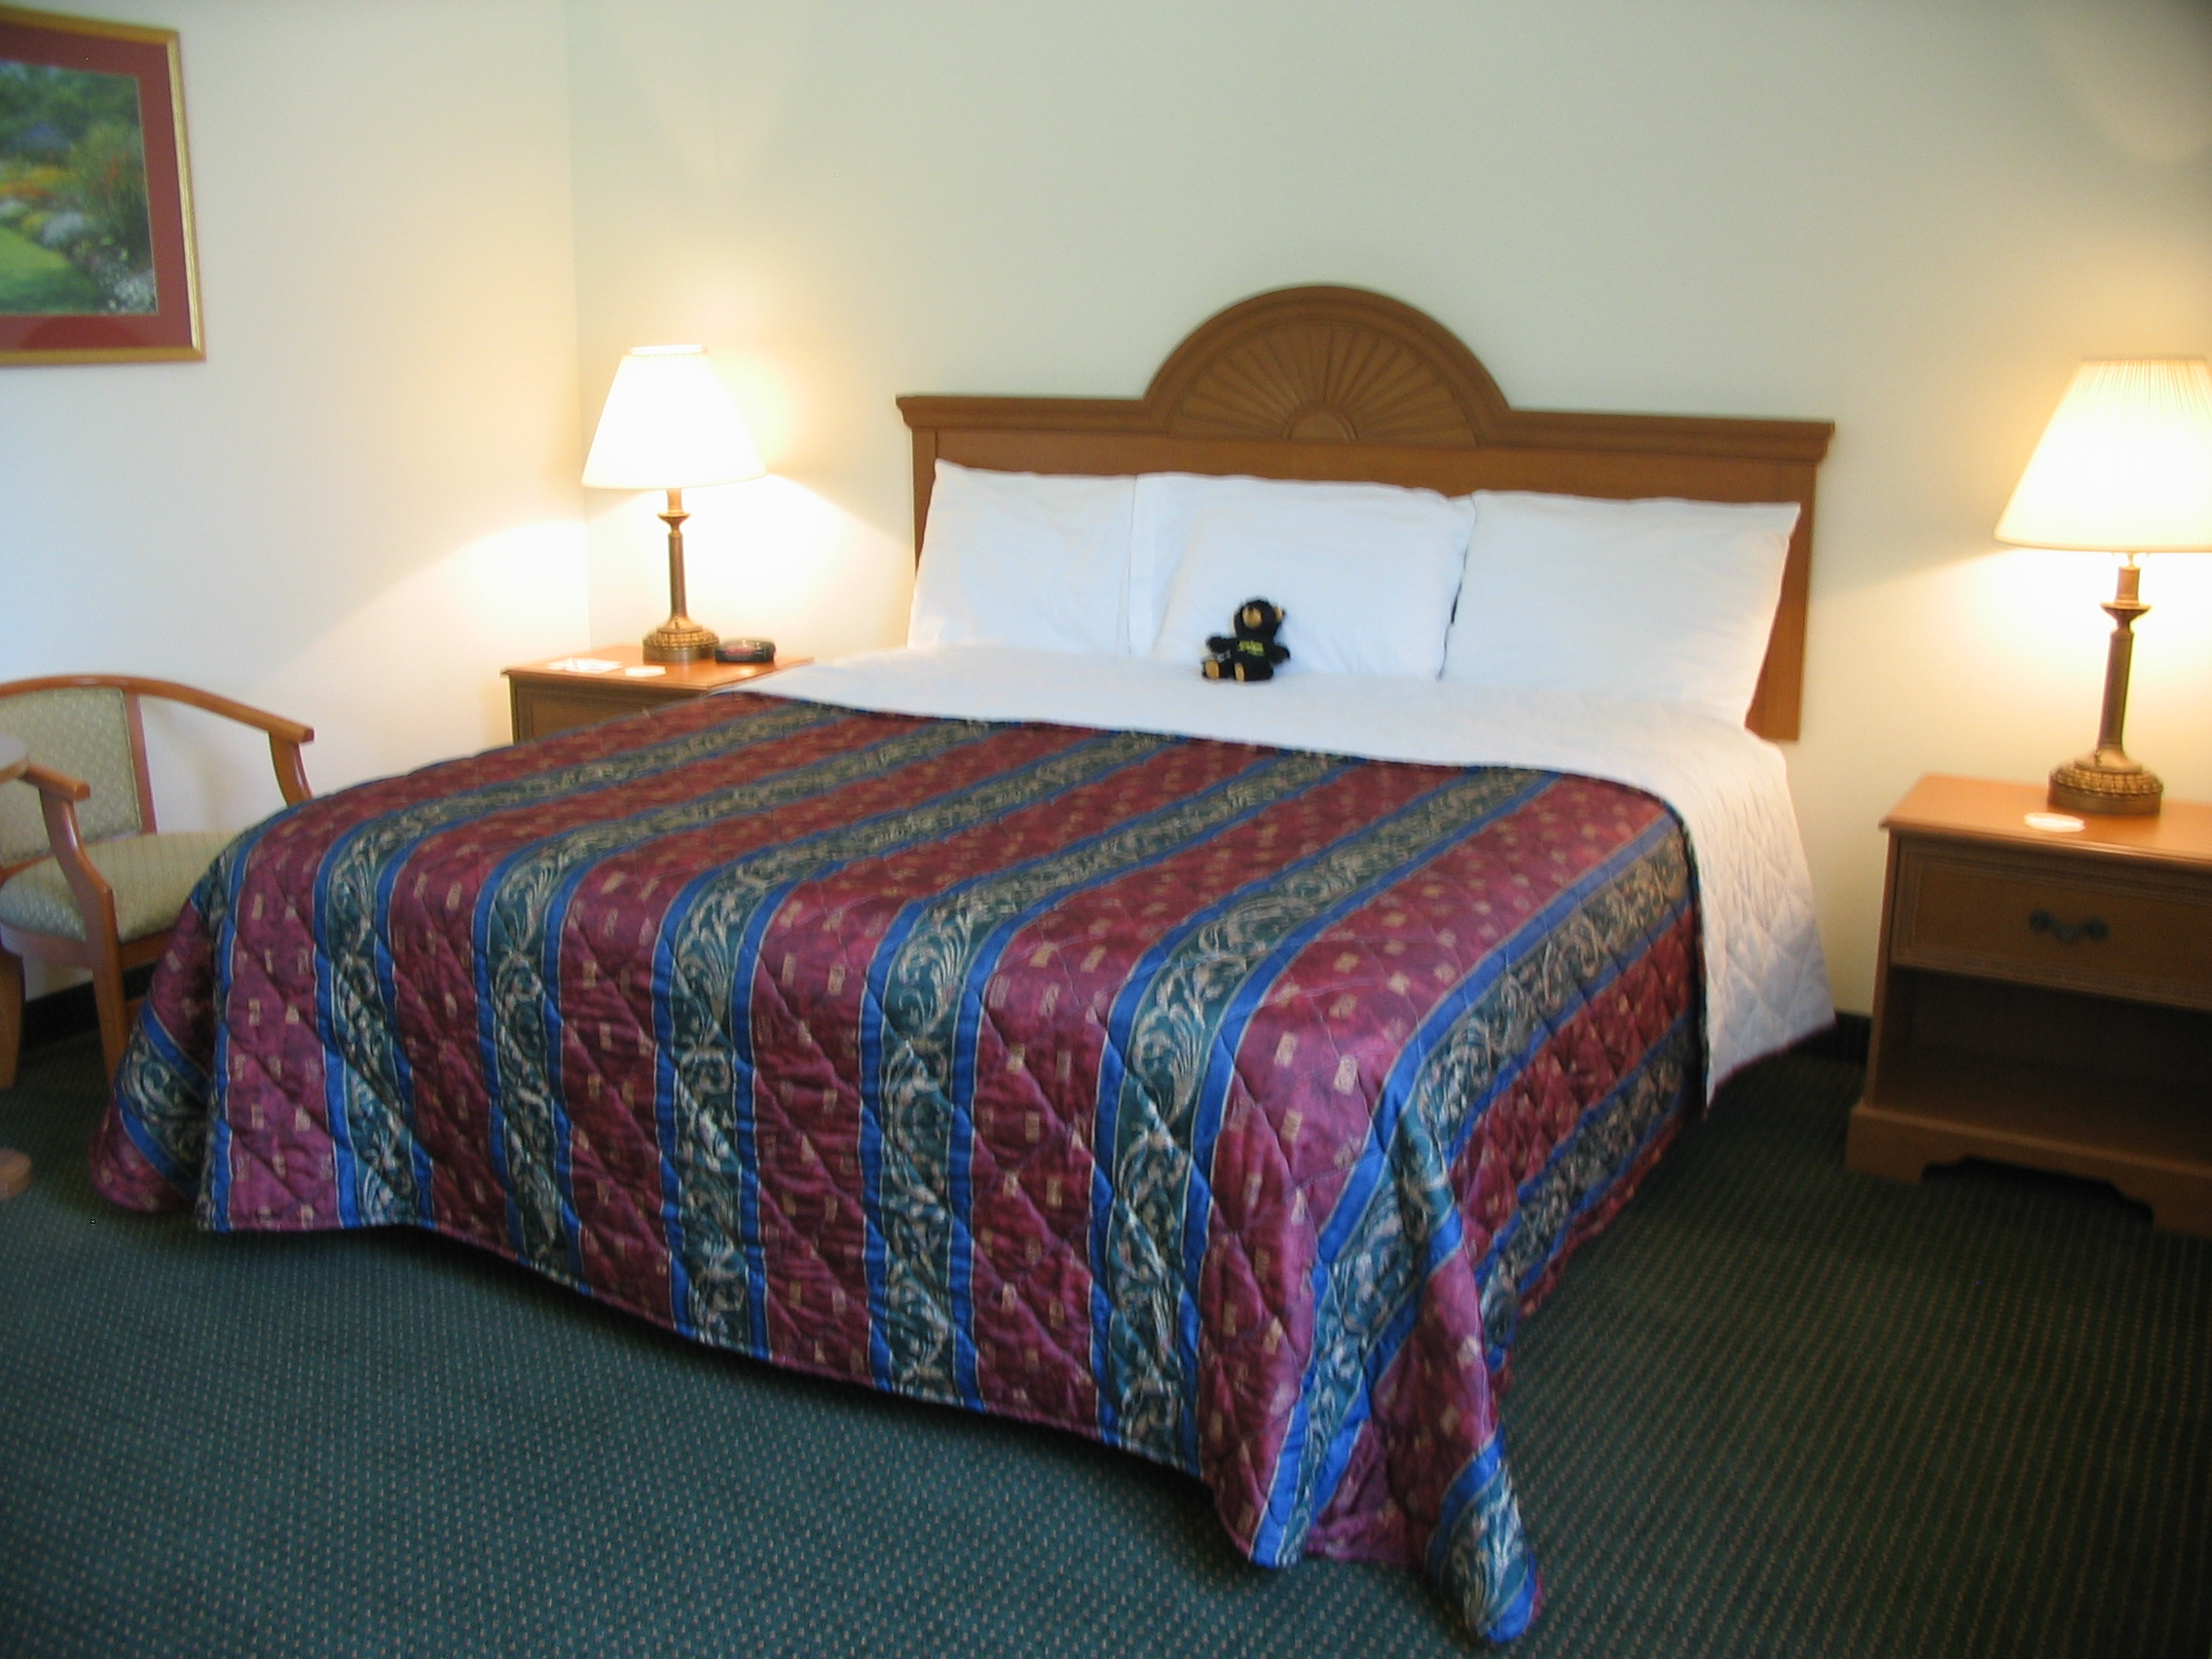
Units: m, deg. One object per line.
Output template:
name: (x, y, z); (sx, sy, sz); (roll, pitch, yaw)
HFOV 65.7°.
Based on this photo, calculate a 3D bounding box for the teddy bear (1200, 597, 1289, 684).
teddy bear: (0.351, -0.459, 4.178); (0.216, 0.191, 0.193); (5, 13, 4)

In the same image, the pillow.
pillow: (0.571, -0.635, 4.346); (2.167, 0.572, 0.433); (11, 15, 23)
